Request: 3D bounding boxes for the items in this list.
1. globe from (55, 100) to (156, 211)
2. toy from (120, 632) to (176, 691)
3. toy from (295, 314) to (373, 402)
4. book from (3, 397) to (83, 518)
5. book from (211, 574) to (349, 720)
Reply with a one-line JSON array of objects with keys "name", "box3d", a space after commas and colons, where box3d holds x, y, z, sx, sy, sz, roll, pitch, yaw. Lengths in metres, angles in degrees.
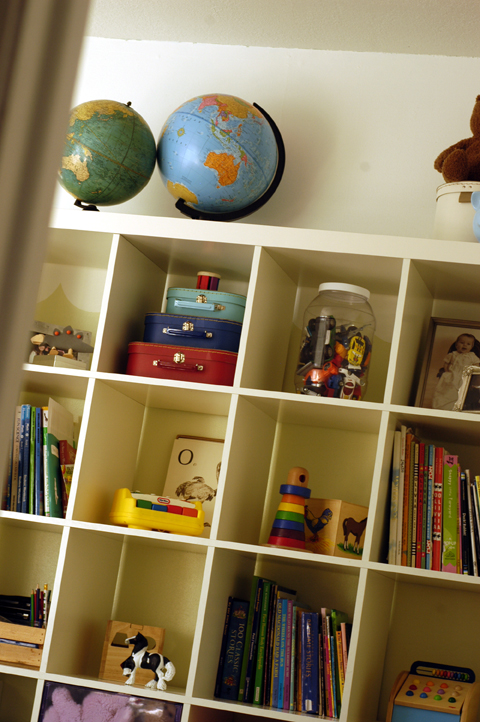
[{"name": "globe", "box3d": [-0.386, -0.627, 1.667, 0.256, 0.297, 0.196, 13, -6, -5]}, {"name": "toy", "box3d": [-0.243, 0.780, 1.452, 0.129, 0.117, 0.250, 13, -6, -6]}, {"name": "toy", "box3d": [0.269, 0.008, 1.605, 0.209, 0.239, 0.206, 4, -16, 13]}, {"name": "book", "box3d": [-0.537, 0.277, 1.577, 0.205, 0.305, 0.228, 17, -8, -41]}, {"name": "book", "box3d": [0.104, 0.742, 1.533, 0.297, 0.416, 0.272, 8, -26, 13]}]
